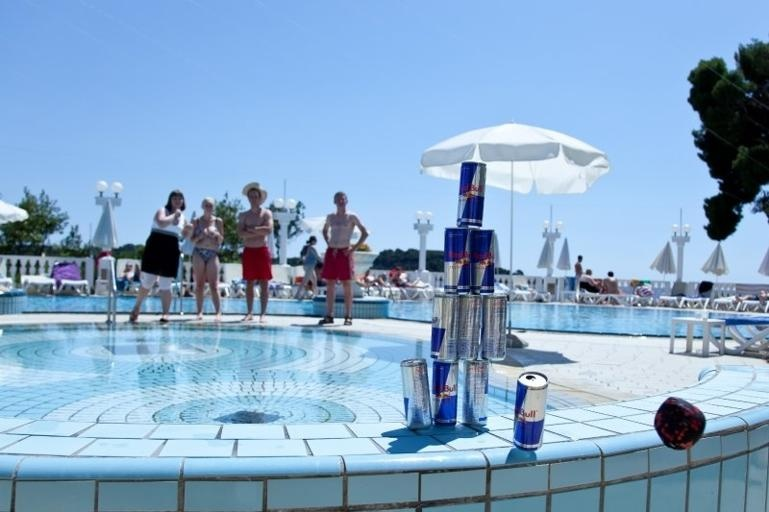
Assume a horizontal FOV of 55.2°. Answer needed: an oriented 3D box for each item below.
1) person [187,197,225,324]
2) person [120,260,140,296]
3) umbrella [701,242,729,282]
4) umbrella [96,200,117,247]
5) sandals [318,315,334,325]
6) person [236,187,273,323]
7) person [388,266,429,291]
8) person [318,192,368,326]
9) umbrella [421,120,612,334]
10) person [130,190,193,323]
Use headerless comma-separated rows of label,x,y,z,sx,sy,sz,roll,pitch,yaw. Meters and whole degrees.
person,-4.012,0.078,16.498,0.702,2.809,1.432,-1,9,-13
person,-9.656,0.809,27.314,0.964,0.991,1.504,3,19,-18
umbrella,15.395,0.172,34.193,1.090,1.556,0.780,6,10,26
umbrella,-10.294,-1.115,26.970,0.761,1.880,1.291,-2,10,-21
sandals,-1.317,1.427,16.425,0.280,0.180,0.168,3,1,11
person,-2.890,-0.035,16.315,0.723,3.127,0.957,-1,9,-11
person,0.896,1.031,31.774,0.827,0.708,1.486,1,-2,-37
person,-0.956,0.092,16.639,1.039,3.084,1.426,1,9,-2
umbrella,2.615,-0.794,16.025,3.626,3.206,3.746,5,5,3
person,-4.783,0.024,15.684,1.142,2.826,0.972,-2,9,-18
